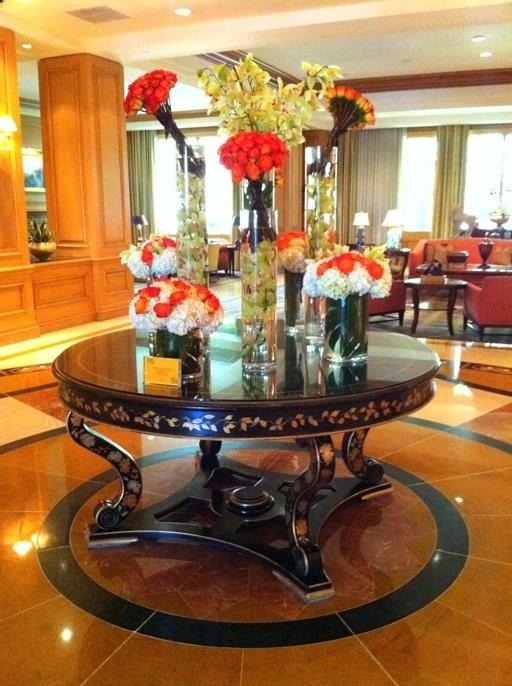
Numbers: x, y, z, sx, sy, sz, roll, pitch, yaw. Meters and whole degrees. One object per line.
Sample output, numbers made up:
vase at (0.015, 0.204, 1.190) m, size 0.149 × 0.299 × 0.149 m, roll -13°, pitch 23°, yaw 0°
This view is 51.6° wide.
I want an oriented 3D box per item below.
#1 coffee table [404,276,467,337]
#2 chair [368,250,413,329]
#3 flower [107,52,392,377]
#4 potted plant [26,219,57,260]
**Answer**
coffee table at (2.150, -0.474, 6.492) m, size 0.649 × 0.537 × 0.579 m, roll 3°, pitch 7°, yaw 29°
chair at (1.791, -0.755, 6.857) m, size 0.676 × 0.801 × 0.678 m, roll 8°, pitch 8°, yaw 13°
flower at (-0.005, -0.528, 2.373) m, size 1.215 × 1.550 × 0.986 m, roll 3°, pitch 12°, yaw 16°
potted plant at (-2.605, -1.272, 6.494) m, size 0.347 × 0.415 × 0.303 m, roll 0°, pitch 15°, yaw 4°
